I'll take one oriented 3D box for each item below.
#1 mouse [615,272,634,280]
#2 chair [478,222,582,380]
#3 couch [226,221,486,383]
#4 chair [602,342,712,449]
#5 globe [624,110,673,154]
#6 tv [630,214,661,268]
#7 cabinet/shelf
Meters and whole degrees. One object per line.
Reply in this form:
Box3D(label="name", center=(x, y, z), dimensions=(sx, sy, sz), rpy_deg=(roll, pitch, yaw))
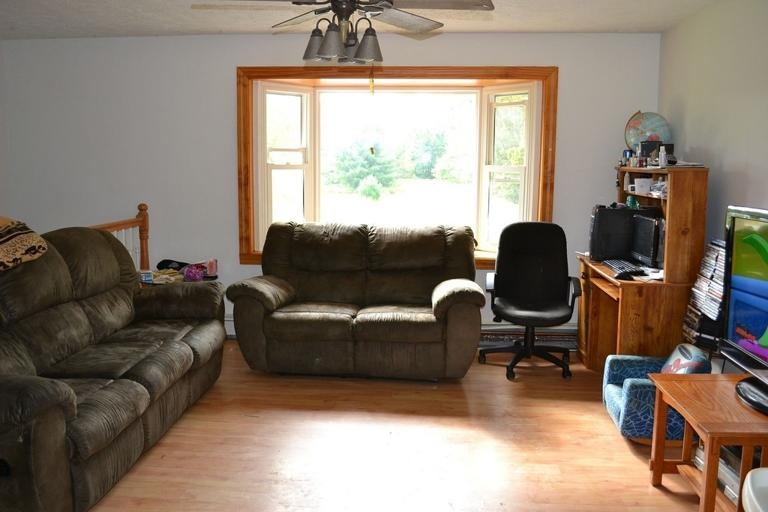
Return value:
Box3D(label="mouse", center=(1.931, 0.163, 4.743), dimensions=(0.116, 0.040, 0.065), rpy_deg=(-1, 6, -6))
Box3D(label="chair", center=(1.295, 0.358, 5.372), dimensions=(0.849, 1.292, 0.907), rpy_deg=(-1, 12, -5))
Box3D(label="couch", center=(-0.202, 0.385, 5.322), dimensions=(2.116, 1.216, 0.886), rpy_deg=(1, 12, 5))
Box3D(label="chair", center=(1.898, 0.935, 4.306), dimensions=(0.684, 0.667, 0.822), rpy_deg=(-1, 3, 9))
Box3D(label="globe", center=(2.404, -1.154, 5.380), dimensions=(0.387, 0.385, 0.242), rpy_deg=(-6, 1, 5))
Box3D(label="tv", center=(2.226, -0.129, 5.007), dimensions=(0.176, 0.458, 0.449), rpy_deg=(1, 4, -4))
Box3D(label="cabinet/shelf", center=(2.192, 0.091, 4.931), dimensions=(0.705, 1.575, 1.587), rpy_deg=(2, 7, 2))
